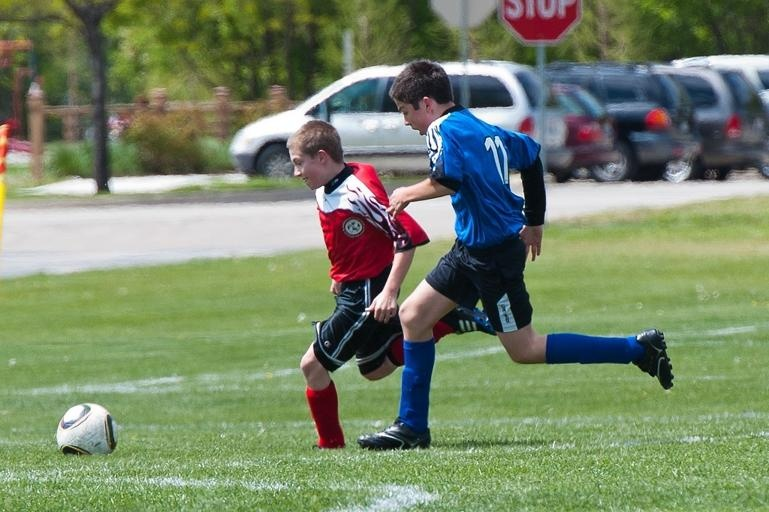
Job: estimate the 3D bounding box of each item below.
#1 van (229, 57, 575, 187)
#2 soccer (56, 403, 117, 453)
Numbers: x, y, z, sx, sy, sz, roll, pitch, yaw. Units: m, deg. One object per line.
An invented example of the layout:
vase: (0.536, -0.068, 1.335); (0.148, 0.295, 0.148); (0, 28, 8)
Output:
van: (0.055, -1.819, 22.598); (3.588, 1.225, 1.829); (2, 4, 6)
soccer: (-2.907, 1.771, 16.956); (0.530, 0.499, 0.491); (-14, -14, -4)
